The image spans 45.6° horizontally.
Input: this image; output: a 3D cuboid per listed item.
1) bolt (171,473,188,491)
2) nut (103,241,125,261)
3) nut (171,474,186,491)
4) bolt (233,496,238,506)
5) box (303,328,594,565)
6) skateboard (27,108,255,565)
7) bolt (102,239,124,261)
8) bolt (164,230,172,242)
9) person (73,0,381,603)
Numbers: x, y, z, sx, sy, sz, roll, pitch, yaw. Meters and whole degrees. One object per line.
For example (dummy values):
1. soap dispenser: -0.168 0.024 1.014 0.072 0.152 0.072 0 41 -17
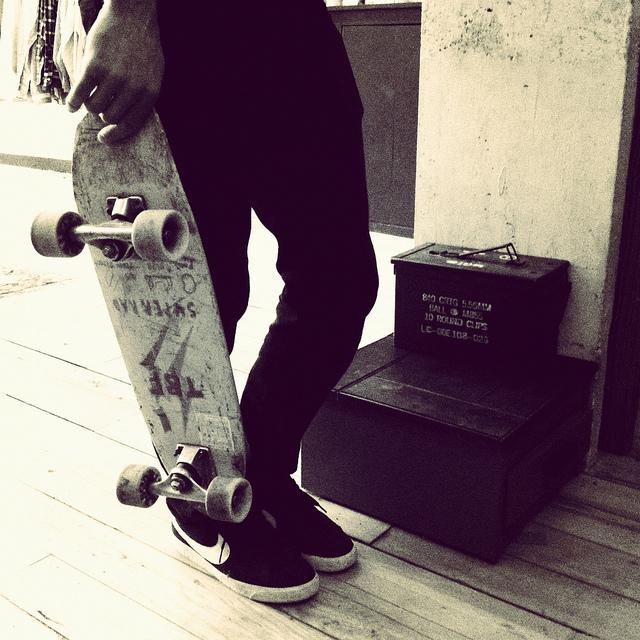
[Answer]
1. bolt: -0.234 0.263 1.258 0.024 0.028 0.018 10 19 13
2. nut: -0.320 -0.112 1.183 0.026 0.029 0.008 15 27 27
3. nut: -0.234 0.266 1.258 0.021 0.025 0.016 10 23 14
4. bolt: -0.137 0.288 1.221 0.010 0.022 0.003 0 2 -20
5. box: 0.247 0.151 1.615 0.436 0.289 0.459 10 21 33
6. skateboard: -0.288 0.071 1.382 0.266 0.147 0.931 23 19 -23
7. bolt: -0.320 -0.109 1.181 0.027 0.031 0.029 -1 13 24
8. bolt: -0.218 -0.121 1.087 0.005 0.016 0.016 11 29 25
9. person: -0.071 -0.034 1.321 0.322 1.445 0.209 3 27 18
